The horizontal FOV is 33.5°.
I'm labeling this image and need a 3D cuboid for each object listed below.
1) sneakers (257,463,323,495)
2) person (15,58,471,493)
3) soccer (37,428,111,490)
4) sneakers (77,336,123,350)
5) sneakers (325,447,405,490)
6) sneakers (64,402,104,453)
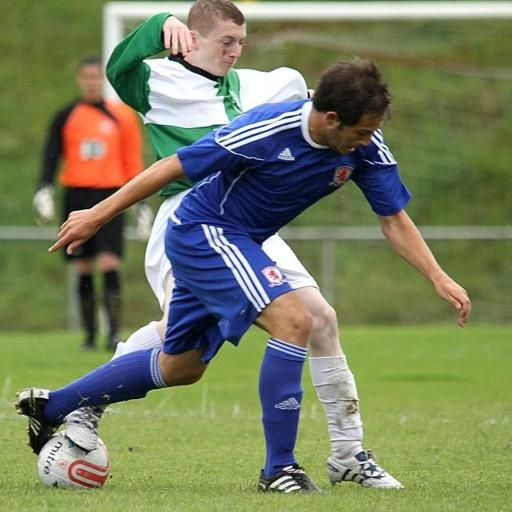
[{"bbox_3d":[0.110,0.807,3.043,0.280,0.077,0.081,0,0,8],"label":"sneakers"},{"bbox_3d":[-0.007,0.059,3.178,1.636,1.553,0.706,-2,11,-13],"label":"person"},{"bbox_3d":[-0.699,0.790,3.318,0.244,0.189,0.197,16,-4,7],"label":"soccer"},{"bbox_3d":[-1.376,0.763,7.473,0.365,0.092,0.296,0,-4,0],"label":"sneakers"},{"bbox_3d":[0.393,0.822,3.268,0.363,0.134,0.104,5,-14,12],"label":"sneakers"},{"bbox_3d":[-0.665,0.677,3.335,0.247,0.105,0.081,22,-20,50],"label":"sneakers"}]
